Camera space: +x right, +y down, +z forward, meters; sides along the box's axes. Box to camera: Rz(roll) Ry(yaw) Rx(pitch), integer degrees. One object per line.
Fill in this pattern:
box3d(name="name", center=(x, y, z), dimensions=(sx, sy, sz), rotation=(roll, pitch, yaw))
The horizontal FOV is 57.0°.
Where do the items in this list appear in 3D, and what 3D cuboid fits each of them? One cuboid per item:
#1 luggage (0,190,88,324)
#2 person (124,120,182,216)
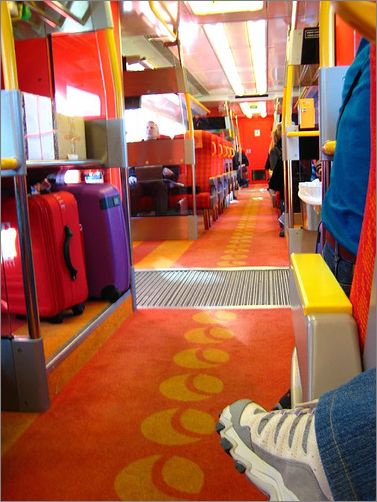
box3d(name="luggage", center=(-0.769, 0.075, 1.788), dimensions=(0.231, 0.733, 0.654), rotation=(-1, 10, 6))
box3d(name="person", center=(-0.617, -1.323, 5.598), dimensions=(0.672, 1.595, 0.800), rotation=(-2, 12, 7))
